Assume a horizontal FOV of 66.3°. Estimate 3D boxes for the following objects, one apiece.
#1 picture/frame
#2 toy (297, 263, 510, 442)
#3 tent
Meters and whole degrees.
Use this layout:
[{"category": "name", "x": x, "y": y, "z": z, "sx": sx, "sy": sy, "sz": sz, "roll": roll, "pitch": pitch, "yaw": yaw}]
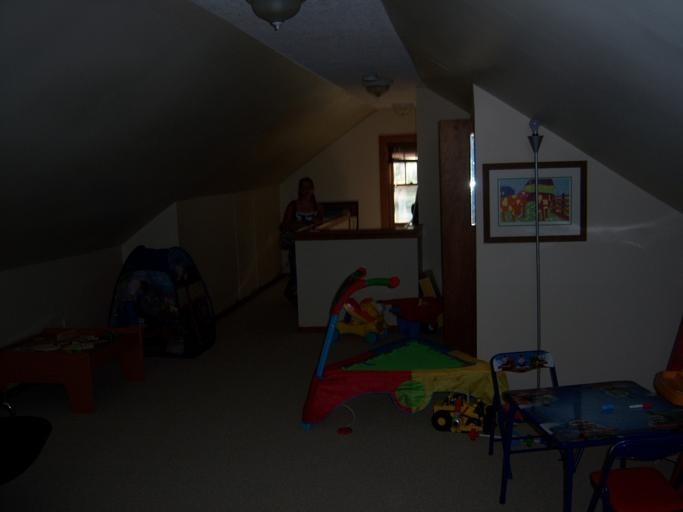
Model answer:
[{"category": "picture/frame", "x": 1.429, "y": -0.427, "z": 3.807, "sx": 0.513, "sy": 0.469, "sz": 0.023, "roll": 0, "pitch": 2, "yaw": 9}, {"category": "toy", "x": 0.434, "y": 0.709, "z": 3.905, "sx": 1.169, "sy": 0.942, "sz": 1.067, "roll": -3, "pitch": 6, "yaw": 12}, {"category": "tent", "x": -1.833, "y": 0.378, "z": 5.424, "sx": 1.007, "sy": 1.046, "sz": 0.951, "roll": 7, "pitch": 20, "yaw": 18}]
